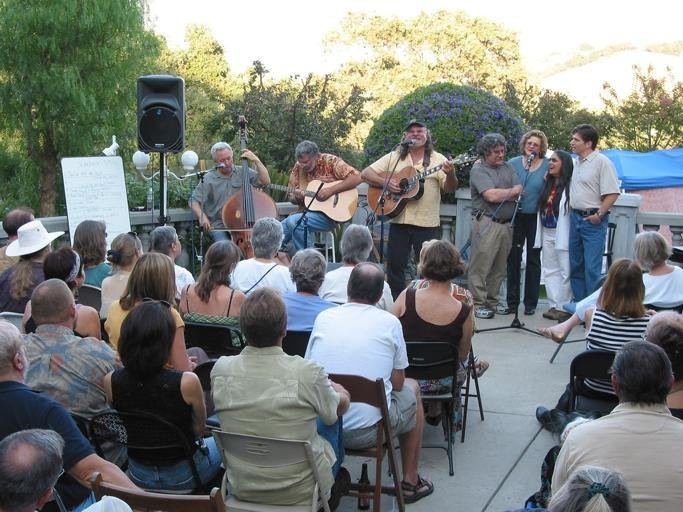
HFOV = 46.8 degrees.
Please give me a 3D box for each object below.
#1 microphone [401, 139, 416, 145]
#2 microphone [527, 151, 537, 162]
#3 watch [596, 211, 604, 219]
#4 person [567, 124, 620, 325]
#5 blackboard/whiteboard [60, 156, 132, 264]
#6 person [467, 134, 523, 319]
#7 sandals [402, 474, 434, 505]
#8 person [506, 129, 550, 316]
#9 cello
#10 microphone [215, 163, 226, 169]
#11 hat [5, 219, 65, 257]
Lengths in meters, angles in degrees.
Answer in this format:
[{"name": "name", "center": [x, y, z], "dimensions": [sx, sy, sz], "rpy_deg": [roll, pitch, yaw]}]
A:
[{"name": "microphone", "center": [0.741, -1.218, 8.505], "dimensions": [0.055, 0.063, 0.211], "rpy_deg": [6, 11, 19]}, {"name": "microphone", "center": [2.067, -1.069, 8.563], "dimensions": [0.064, 0.086, 0.260], "rpy_deg": [5, 16, 21]}, {"name": "watch", "center": [2.685, -0.424, 8.217], "dimensions": [0.080, 0.062, 0.082], "rpy_deg": [-1, 14, -3]}, {"name": "person", "center": [2.672, -0.295, 8.413], "dimensions": [0.415, 2.044, 0.583], "rpy_deg": [4, 16, -18]}, {"name": "blackboard/whiteboard", "center": [-2.753, -0.708, 8.981], "dimensions": [0.688, 1.782, 0.621], "rpy_deg": [9, 15, 28]}, {"name": "person", "center": [1.660, -0.341, 8.815], "dimensions": [0.492, 2.162, 0.505], "rpy_deg": [4, 14, -2]}, {"name": "sandals", "center": [0.514, 1.592, 5.436], "dimensions": [0.243, 0.168, 0.121], "rpy_deg": [-12, 8, -29]}, {"name": "person", "center": [2.018, -0.456, 8.689], "dimensions": [0.443, 2.271, 0.456], "rpy_deg": [9, 15, 22]}, {"name": "cello", "center": [-1.078, -0.700, 9.115], "dimensions": [0.583, 1.682, 0.509], "rpy_deg": [-5, 17, -36]}, {"name": "microphone", "center": [-1.412, -1.027, 9.241], "dimensions": [0.117, 0.048, 0.045], "rpy_deg": [-10, -38, 33]}, {"name": "hat", "center": [-2.504, -0.147, 6.454], "dimensions": [0.313, 0.317, 0.383], "rpy_deg": [9, 12, 32]}]
